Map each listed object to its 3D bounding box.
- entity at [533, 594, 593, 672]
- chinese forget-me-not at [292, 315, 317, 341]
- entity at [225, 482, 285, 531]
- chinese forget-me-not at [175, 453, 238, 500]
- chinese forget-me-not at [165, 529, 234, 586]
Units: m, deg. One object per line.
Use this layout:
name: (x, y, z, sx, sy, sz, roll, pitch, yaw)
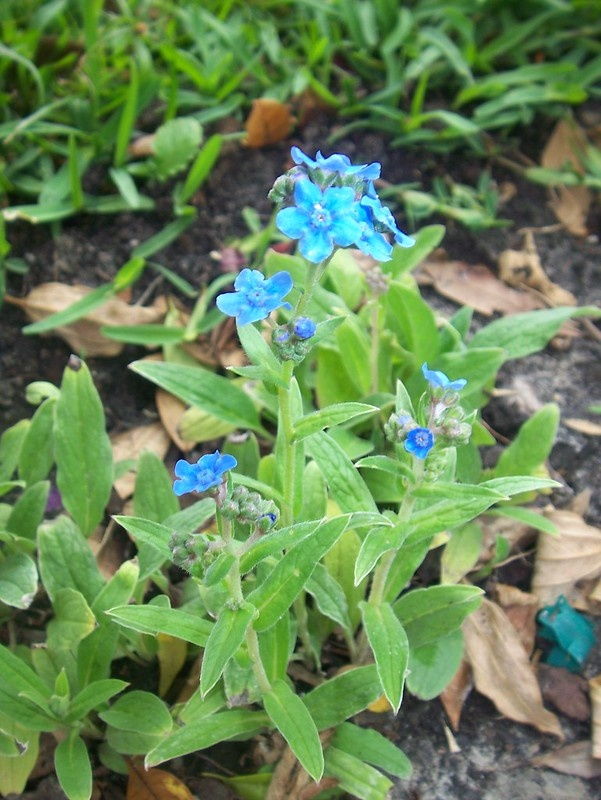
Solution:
entity: (0.885, 0.784, 2.783, 0.203, 0.106, 0.195, 30, 45, 21)
chinese forget-me-not: (0.010, -0.175, 2.048, 0.048, 0.057, 0.048, -1, 89, 1)
entity: (-0.126, 0.268, 2.027, 0.127, 0.065, 0.106, 36, 58, -16)
chinese forget-me-not: (-0.222, 0.165, 1.878, 0.130, 0.114, 0.093, -2, 44, -14)
chinese forget-me-not: (-0.233, 0.349, 2.005, 0.126, 0.177, 0.077, 25, 74, -9)
